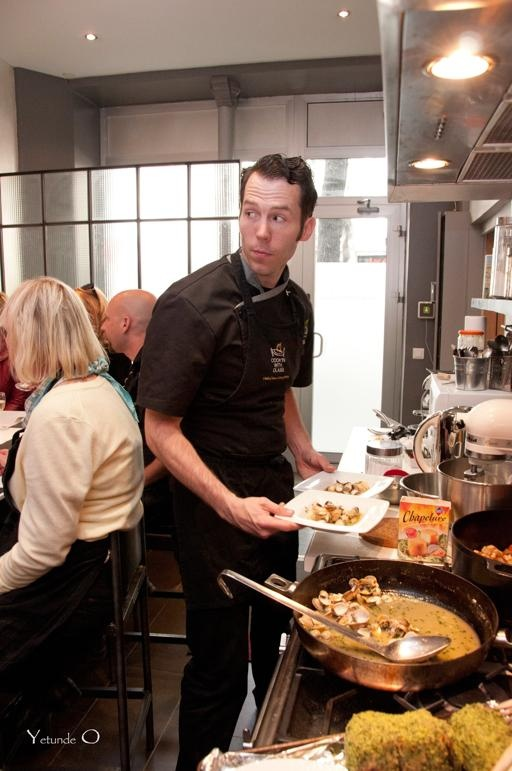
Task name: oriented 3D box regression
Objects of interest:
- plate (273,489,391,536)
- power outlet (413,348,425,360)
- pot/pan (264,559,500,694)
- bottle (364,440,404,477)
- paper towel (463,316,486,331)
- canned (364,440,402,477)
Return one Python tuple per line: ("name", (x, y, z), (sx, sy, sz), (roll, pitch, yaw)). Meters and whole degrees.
("plate", (0.177, 0.284, 1.299), (0.225, 0.033, 0.273), (1, 6, 16))
("power outlet", (1.389, -0.271, 4.900), (0.099, 0.097, 0.020), (0, -5, 9))
("pot/pan", (0.254, 0.382, 0.952), (0.252, 0.058, 0.268), (17, 11, -11))
("bottle", (0.427, 0.239, 1.950), (0.120, 0.128, 0.119), (1, 5, -1))
("paper towel", (1.157, -0.333, 3.032), (0.092, 0.066, 0.135), (1, 6, 22))
("canned", (0.426, 0.238, 1.951), (0.120, 0.127, 0.118), (1, 5, -1))
